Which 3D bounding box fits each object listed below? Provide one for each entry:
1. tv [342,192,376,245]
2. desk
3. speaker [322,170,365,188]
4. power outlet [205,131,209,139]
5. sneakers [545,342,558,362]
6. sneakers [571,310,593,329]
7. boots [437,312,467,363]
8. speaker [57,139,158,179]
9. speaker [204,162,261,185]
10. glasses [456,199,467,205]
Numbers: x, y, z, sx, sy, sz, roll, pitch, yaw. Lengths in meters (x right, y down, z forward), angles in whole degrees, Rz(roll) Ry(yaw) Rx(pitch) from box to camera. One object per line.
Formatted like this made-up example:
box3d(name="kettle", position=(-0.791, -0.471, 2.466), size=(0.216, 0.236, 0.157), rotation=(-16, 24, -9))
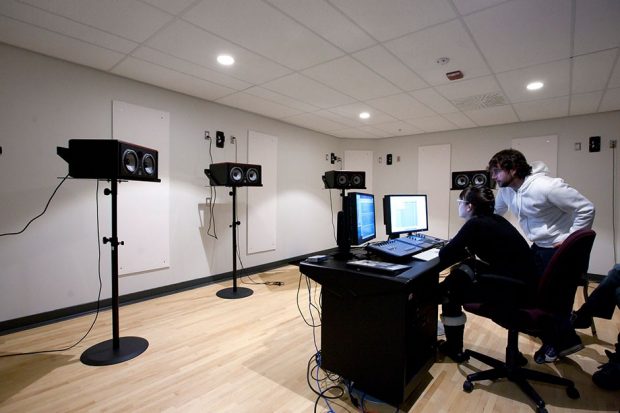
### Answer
box3d(name="tv", position=(0.503, 0.133, 4.320), size=(0.070, 0.396, 0.558), rotation=(-4, -5, 24))
box3d(name="desk", position=(0.734, 1.184, 4.382), size=(1.205, 1.219, 1.324), rotation=(2, 5, 32))
box3d(name="speaker", position=(0.574, -0.448, 7.082), size=(0.512, 0.254, 0.348), rotation=(0, -1, -11))
box3d(name="power outlet", position=(-1.595, -1.113, 6.450), size=(0.013, 0.132, 0.085), rotation=(1, 4, 44))
box3d(name="sneakers", position=(2.636, 1.600, 4.569), size=(0.109, 0.130, 0.302), rotation=(0, 6, 43))
box3d(name="sneakers", position=(2.858, 1.171, 4.370), size=(0.170, 0.215, 0.238), rotation=(4, 5, 38))
box3d(name="boots", position=(1.547, 1.424, 4.630), size=(0.296, 0.519, 0.471), rotation=(11, -11, -27))
box3d(name="speaker", position=(-2.191, -0.499, 4.578), size=(0.624, 0.310, 0.635), rotation=(2, 0, 3))
box3d(name="speaker", position=(-1.143, -0.459, 6.019), size=(0.406, 0.280, 0.576), rotation=(-1, -1, 33))
box3d(name="glasses", position=(1.734, -0.057, 4.755), size=(0.095, 0.030, 0.093), rotation=(11, 7, 22))
